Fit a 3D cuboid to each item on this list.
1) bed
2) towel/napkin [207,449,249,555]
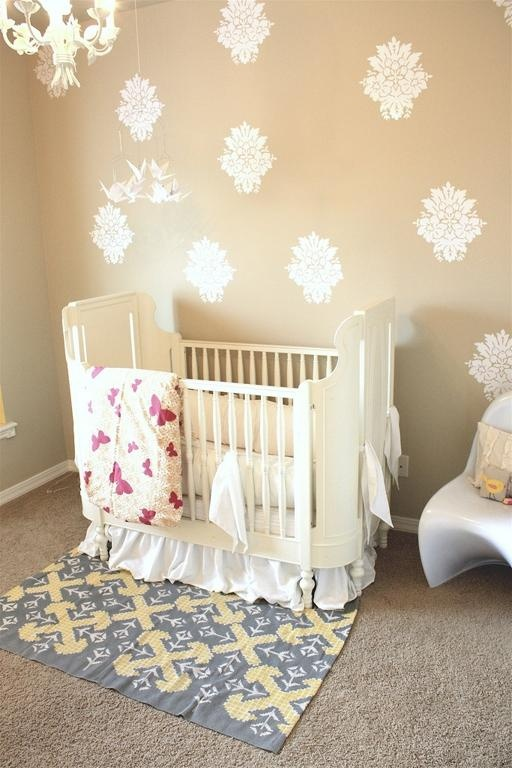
[{"bbox_3d":[-0.074,0.060,2.764,1.494,1.372,1.035,5,19,22],"label":"bed"},{"bbox_3d":[-0.104,0.437,2.195,0.141,0.394,0.129,-1,10,1],"label":"towel/napkin"}]
